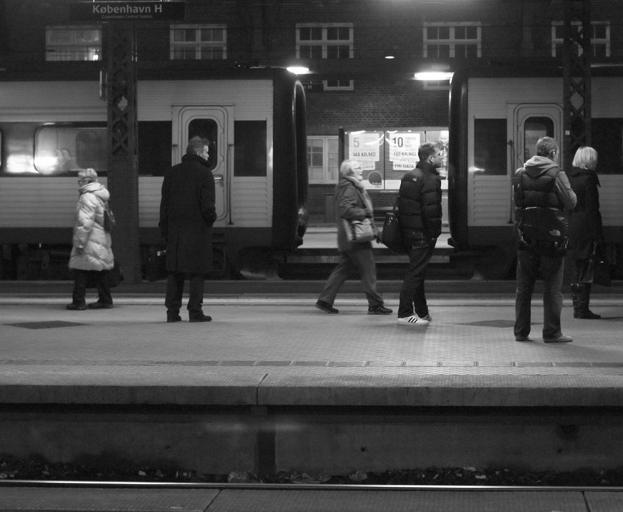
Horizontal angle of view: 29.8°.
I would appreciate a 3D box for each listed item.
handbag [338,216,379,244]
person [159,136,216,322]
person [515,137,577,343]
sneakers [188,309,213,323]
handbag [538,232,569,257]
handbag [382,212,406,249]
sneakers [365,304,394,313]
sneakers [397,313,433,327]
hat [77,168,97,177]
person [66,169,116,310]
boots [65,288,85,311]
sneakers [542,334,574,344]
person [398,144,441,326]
[{"bbox_3d":[0.573,-0.328,14.741,0.387,0.295,0.503,-3,44,-12],"label":"handbag"},{"bbox_3d":[-1.498,-0.301,14.068,0.655,2.195,0.452,-1,6,-7],"label":"person"},{"bbox_3d":[2.471,-0.164,12.492,0.651,2.167,0.468,1,6,10],"label":"person"},{"bbox_3d":[-1.353,0.737,14.125,0.331,0.219,0.114,-4,8,-19],"label":"sneakers"},{"bbox_3d":[2.558,-0.122,12.353,0.292,0.246,0.214,0,7,-6],"label":"handbag"},{"bbox_3d":[0.975,-0.284,13.697,0.189,0.424,0.409,-2,5,-4],"label":"handbag"},{"bbox_3d":[0.849,0.680,14.837,0.316,0.132,0.116,-2,1,5],"label":"sneakers"},{"bbox_3d":[1.222,0.758,13.770,0.415,0.162,0.148,-2,6,-13],"label":"sneakers"},{"bbox_3d":[-2.987,-1.083,15.536,0.216,0.114,0.292,-1,5,-15],"label":"hat"},{"bbox_3d":[-2.906,-0.198,15.414,0.408,1.860,0.643,4,8,38],"label":"person"},{"bbox_3d":[-3.065,0.596,15.438,0.347,0.328,0.179,3,2,4],"label":"boots"},{"bbox_3d":[2.623,0.898,12.444,0.329,0.135,0.108,-4,4,-5],"label":"sneakers"},{"bbox_3d":[1.248,-0.242,13.666,0.504,2.134,0.429,0,6,4],"label":"person"}]
